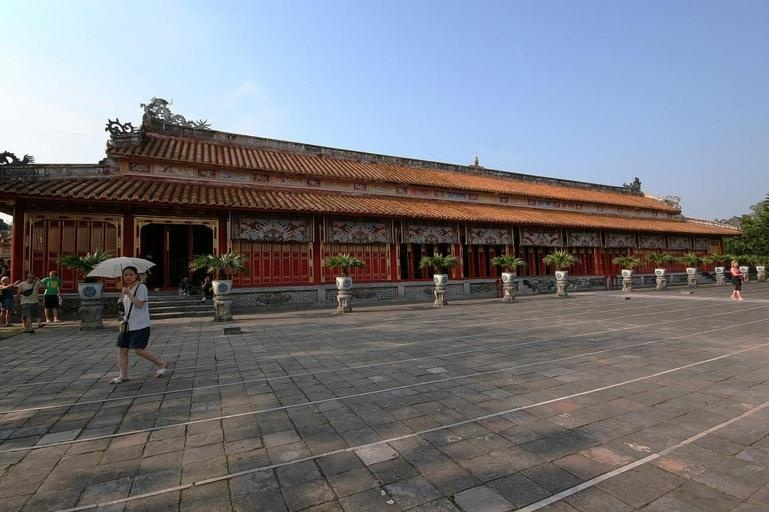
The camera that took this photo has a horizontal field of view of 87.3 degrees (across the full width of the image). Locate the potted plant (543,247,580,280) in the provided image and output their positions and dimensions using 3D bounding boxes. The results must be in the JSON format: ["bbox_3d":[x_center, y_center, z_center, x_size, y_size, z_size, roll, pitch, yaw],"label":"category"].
[{"bbox_3d":[9.662,0.301,21.591,2.376,1.394,1.964,0,0,-9],"label":"potted plant"}]

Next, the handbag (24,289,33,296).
[{"bbox_3d":[-9.745,0.974,10.987,0.198,0.124,0.161,-23,5,32],"label":"handbag"}]

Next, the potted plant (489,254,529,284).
[{"bbox_3d":[6.126,0.576,19.260,2.137,1.164,1.722,1,-5,-3],"label":"potted plant"}]

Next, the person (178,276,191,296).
[{"bbox_3d":[-7.483,1.136,15.032,0.488,0.899,0.268,3,4,-12],"label":"person"}]

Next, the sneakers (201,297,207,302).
[{"bbox_3d":[-6.452,1.514,14.347,0.180,0.130,0.108,-8,14,-26],"label":"sneakers"}]

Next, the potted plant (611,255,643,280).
[{"bbox_3d":[14.938,0.526,24.473,2.176,1.274,1.802,1,-6,7],"label":"potted plant"}]

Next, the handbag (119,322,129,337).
[{"bbox_3d":[-4.203,1.141,6.473,0.103,0.222,0.098,3,15,21],"label":"handbag"}]

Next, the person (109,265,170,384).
[{"bbox_3d":[-4.233,1.105,6.719,0.765,1.935,0.946,-10,15,-27],"label":"person"}]

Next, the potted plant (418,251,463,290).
[{"bbox_3d":[2.130,0.568,16.949,2.047,1.351,1.800,1,-1,23],"label":"potted plant"}]

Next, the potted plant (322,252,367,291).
[{"bbox_3d":[-1.697,0.548,15.423,1.947,1.251,1.596,0,-5,2],"label":"potted plant"}]

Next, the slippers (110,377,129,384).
[{"bbox_3d":[-4.250,1.981,6.448,0.221,0.043,0.116,7,-9,-39],"label":"slippers"}]

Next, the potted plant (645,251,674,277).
[{"bbox_3d":[18.292,0.453,26.912,2.386,1.603,1.635,1,-8,2],"label":"potted plant"}]

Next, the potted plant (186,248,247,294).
[{"bbox_3d":[-5.667,0.280,13.725,2.338,1.148,1.956,1,-7,-16],"label":"potted plant"}]
